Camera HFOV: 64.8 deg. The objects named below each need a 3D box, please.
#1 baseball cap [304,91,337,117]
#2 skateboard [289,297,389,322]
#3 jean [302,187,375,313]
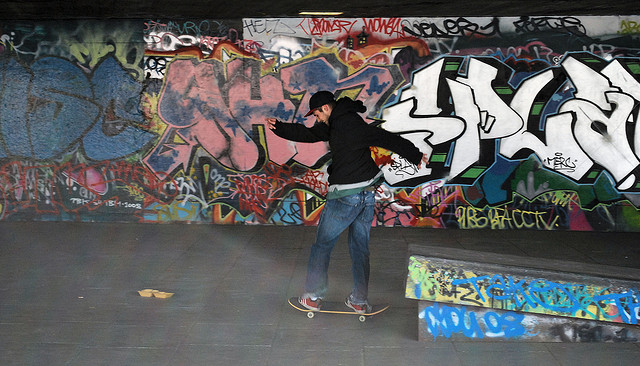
[{"bbox_3d":[-0.038,-1.271,8.114,0.519,0.256,0.331,-12,10,15],"label":"baseball cap"},{"bbox_3d":[0.088,2.050,8.189,2.291,0.313,0.498,0,4,5],"label":"skateboard"},{"bbox_3d":[0.333,1.054,8.034,1.070,1.970,0.366,2,11,4],"label":"jean"}]
